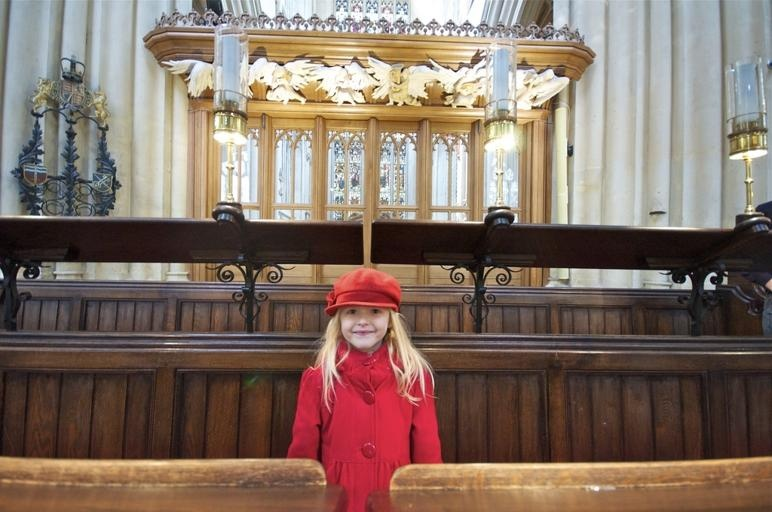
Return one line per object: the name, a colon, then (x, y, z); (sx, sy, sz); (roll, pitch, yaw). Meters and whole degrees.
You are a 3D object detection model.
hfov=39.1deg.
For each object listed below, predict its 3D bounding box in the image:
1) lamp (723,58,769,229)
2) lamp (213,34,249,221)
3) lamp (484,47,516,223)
lamp: (3.743, -1.298, 11.286); (0.383, 1.479, 0.308); (-2, -6, 18)
lamp: (-1.604, -1.349, 11.141); (0.341, 1.990, 0.336); (1, -6, -9)
lamp: (1.173, -1.247, 11.181); (0.321, 1.804, 0.309); (-1, -6, 8)
